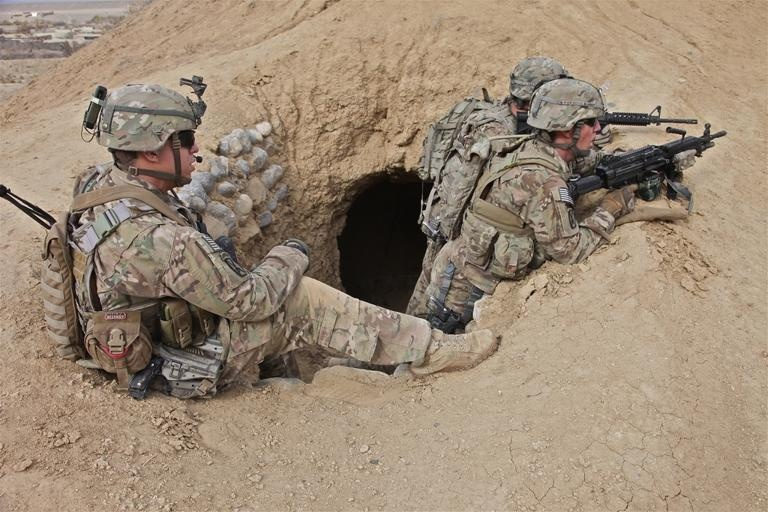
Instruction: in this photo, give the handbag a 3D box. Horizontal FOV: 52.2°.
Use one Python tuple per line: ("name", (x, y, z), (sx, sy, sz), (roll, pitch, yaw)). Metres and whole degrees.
("handbag", (-2.334, 0.740, 6.878), (0.552, 0.526, 0.305), (1, 9, -4))
